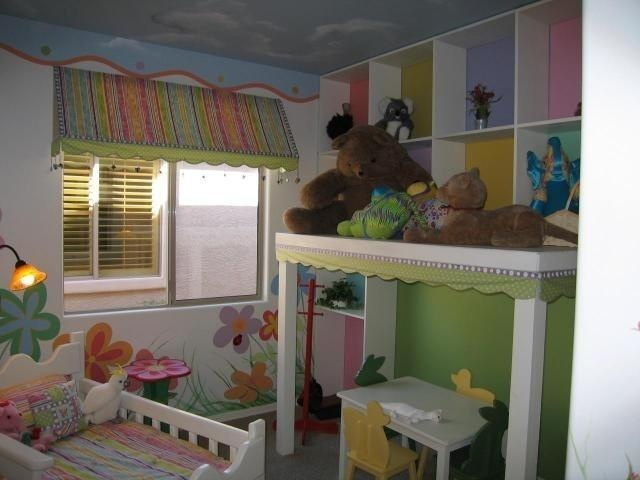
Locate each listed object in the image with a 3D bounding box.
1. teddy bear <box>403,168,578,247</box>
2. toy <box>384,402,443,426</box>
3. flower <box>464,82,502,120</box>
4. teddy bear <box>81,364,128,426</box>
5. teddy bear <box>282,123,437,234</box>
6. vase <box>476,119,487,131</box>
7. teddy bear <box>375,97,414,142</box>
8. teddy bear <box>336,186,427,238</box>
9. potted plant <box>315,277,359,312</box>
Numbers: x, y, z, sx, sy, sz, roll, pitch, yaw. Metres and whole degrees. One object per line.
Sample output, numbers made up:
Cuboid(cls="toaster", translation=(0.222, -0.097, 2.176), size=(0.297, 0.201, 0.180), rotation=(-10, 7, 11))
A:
Cuboid(cls="teddy bear", translation=(0.858, -0.171, 2.620), size=(0.784, 0.339, 0.341), rotation=(4, 3, 29))
Cuboid(cls="toy", translation=(0.511, 0.972, 2.961), size=(0.190, 0.067, 0.124), rotation=(19, 10, 29))
Cuboid(cls="flower", translation=(1.127, -0.947, 3.546), size=(0.235, 0.303, 0.389), rotation=(-1, 3, 16))
Cuboid(cls="teddy bear", translation=(-1.351, 0.937, 3.312), size=(0.310, 0.351, 0.236), rotation=(-2, 11, -42))
Cuboid(cls="teddy bear", translation=(0.251, -0.363, 3.432), size=(0.918, 0.717, 0.624), rotation=(-3, 21, 10))
Cuboid(cls="vase", translation=(1.060, -0.757, 3.396), size=(0.059, 0.062, 0.042), rotation=(-1, 3, 14))
Cuboid(cls="teddy bear", translation=(0.577, -0.911, 4.090), size=(0.330, 0.445, 0.294), rotation=(1, -1, 4))
Cuboid(cls="teddy bear", translation=(0.358, -0.150, 3.016), size=(0.237, 0.199, 0.418), rotation=(-9, -1, -36))
Cuboid(cls="potted plant", translation=(0.158, 0.458, 4.479), size=(0.259, 0.260, 0.115), rotation=(3, 17, 4))
